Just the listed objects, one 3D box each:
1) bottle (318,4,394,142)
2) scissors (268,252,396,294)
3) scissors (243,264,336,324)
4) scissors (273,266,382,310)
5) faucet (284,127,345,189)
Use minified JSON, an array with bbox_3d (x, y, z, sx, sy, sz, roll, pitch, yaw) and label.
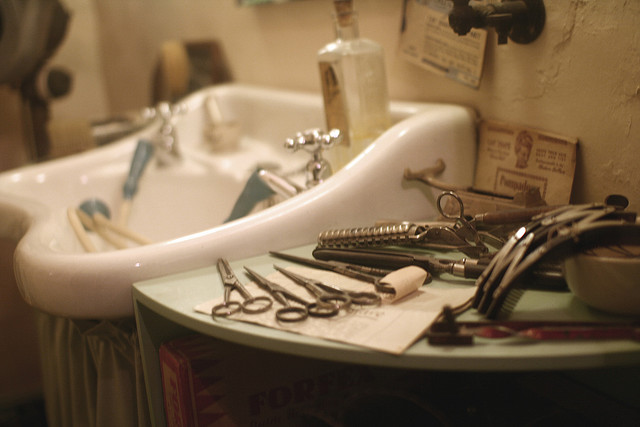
[{"bbox_3d":[0.066,-0.269,1.086,0.139,0.260,0.056,-1,21,4],"label":"bottle"},{"bbox_3d":[0.027,0.078,0.873,0.151,0.007,0.055,12,17,34],"label":"scissors"},{"bbox_3d":[-0.061,0.124,0.807,0.184,0.022,0.075,12,24,32],"label":"scissors"},{"bbox_3d":[0.011,0.100,0.824,0.045,0.006,0.119,-12,20,-38],"label":"scissors"},{"bbox_3d":[-0.003,-0.106,1.114,0.099,0.116,0.098,11,49,42],"label":"faucet"}]
